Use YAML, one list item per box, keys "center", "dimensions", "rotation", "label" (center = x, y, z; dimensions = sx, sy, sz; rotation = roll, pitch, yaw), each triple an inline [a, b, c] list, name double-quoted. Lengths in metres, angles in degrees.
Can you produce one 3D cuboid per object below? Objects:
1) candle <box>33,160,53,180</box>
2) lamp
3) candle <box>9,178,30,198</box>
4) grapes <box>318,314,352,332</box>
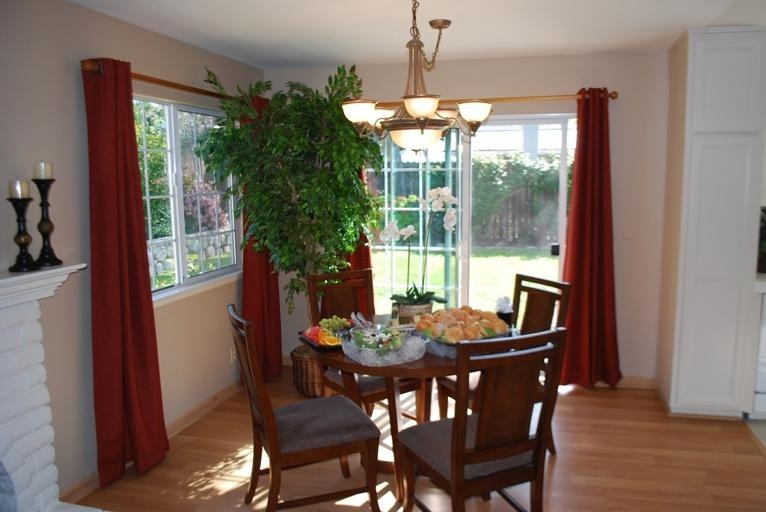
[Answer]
- center: [-2.305, -0.576, 3.845]
  dimensions: [0.113, 0.113, 0.106]
  rotation: [-8, 11, -40]
  label: "candle"
- center: [0.191, -1.350, 4.334]
  dimensions: [1.002, 1.126, 1.685]
  rotation: [-1, 8, -4]
  label: "lamp"
- center: [-2.418, -0.447, 3.776]
  dimensions: [0.112, 0.118, 0.136]
  rotation: [-7, 10, -36]
  label: "candle"
- center: [-0.354, 0.507, 4.332]
  dimensions: [0.151, 0.095, 0.164]
  rotation: [3, -2, 5]
  label: "grapes"
